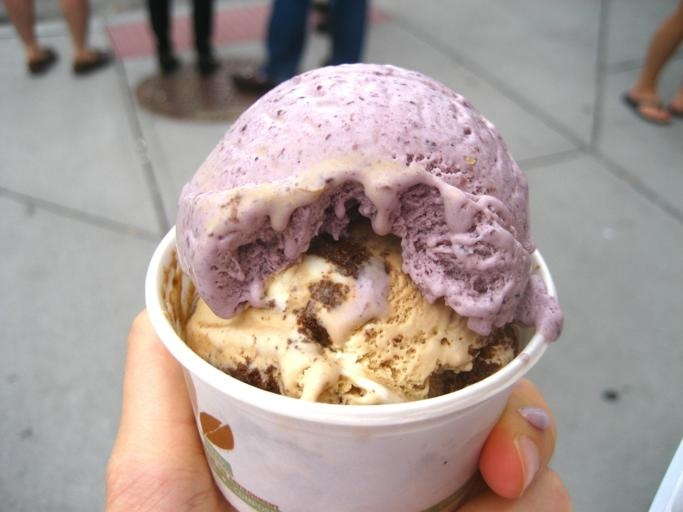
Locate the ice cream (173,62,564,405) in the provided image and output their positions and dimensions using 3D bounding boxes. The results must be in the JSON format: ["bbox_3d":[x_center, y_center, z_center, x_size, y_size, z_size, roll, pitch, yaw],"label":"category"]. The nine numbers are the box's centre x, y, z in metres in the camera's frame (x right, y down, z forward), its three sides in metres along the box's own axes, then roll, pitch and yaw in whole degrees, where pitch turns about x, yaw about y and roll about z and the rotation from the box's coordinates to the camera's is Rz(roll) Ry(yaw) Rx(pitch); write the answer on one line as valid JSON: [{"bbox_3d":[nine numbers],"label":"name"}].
[{"bbox_3d":[0.135,-0.067,2.020,0.893,0.936,0.883,9,7,-19],"label":"ice cream"}]
